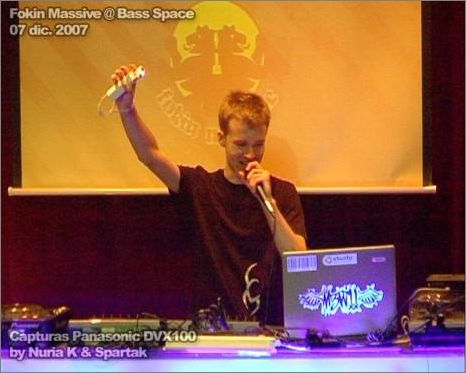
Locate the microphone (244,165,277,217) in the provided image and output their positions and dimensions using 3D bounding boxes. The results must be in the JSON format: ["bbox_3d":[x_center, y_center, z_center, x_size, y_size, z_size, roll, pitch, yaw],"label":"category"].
[{"bbox_3d":[0.120,0.039,2.138,0.038,0.259,0.059,-24,1,12],"label":"microphone"}]

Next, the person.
[{"bbox_3d":[-0.144,0.108,2.533,0.785,1.231,0.453,-1,-6,-21],"label":"person"}]

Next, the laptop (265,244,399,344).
[{"bbox_3d":[0.449,0.371,2.100,0.435,0.476,0.352,0,-2,0],"label":"laptop"}]
